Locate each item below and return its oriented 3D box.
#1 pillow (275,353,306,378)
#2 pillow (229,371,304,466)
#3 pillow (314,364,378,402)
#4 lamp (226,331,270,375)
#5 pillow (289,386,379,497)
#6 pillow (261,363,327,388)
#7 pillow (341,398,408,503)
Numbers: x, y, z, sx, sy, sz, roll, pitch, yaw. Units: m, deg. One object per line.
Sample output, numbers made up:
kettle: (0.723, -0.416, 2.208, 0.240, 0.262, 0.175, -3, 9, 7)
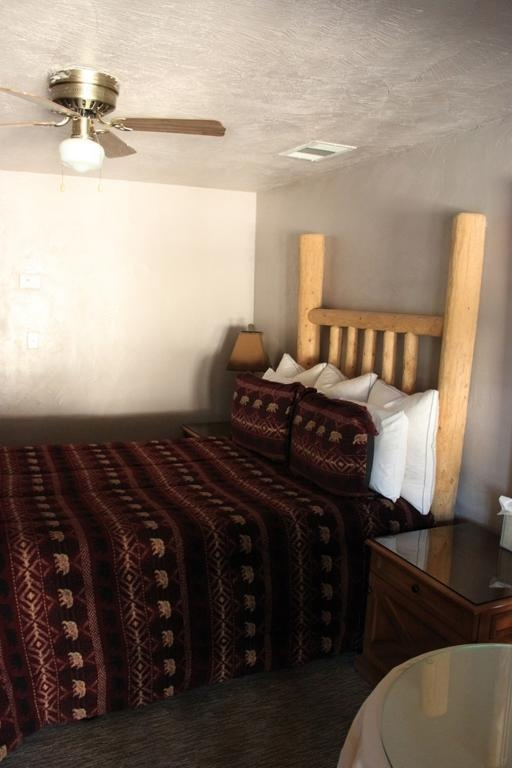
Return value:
pillow: (0.190, -0.083, 3.713, 0.045, 0.123, 0.144, 15, -12, -35)
pillow: (0.054, 0.174, 3.184, 0.102, 0.263, 0.449, 16, -7, -36)
pillow: (0.400, -0.045, 3.043, 0.142, 0.114, 0.282, -20, 13, -20)
lamp: (-0.042, -0.181, 4.105, 0.263, 0.244, 0.254, -2, 6, -34)
pillow: (0.312, 0.242, 2.684, 0.144, 0.274, 0.399, 5, 9, -25)
pillow: (0.208, -0.038, 3.466, 0.174, 0.050, 0.177, -21, 15, -9)
pillow: (0.447, 0.269, 2.576, 0.143, 0.352, 0.377, 4, 6, -17)
